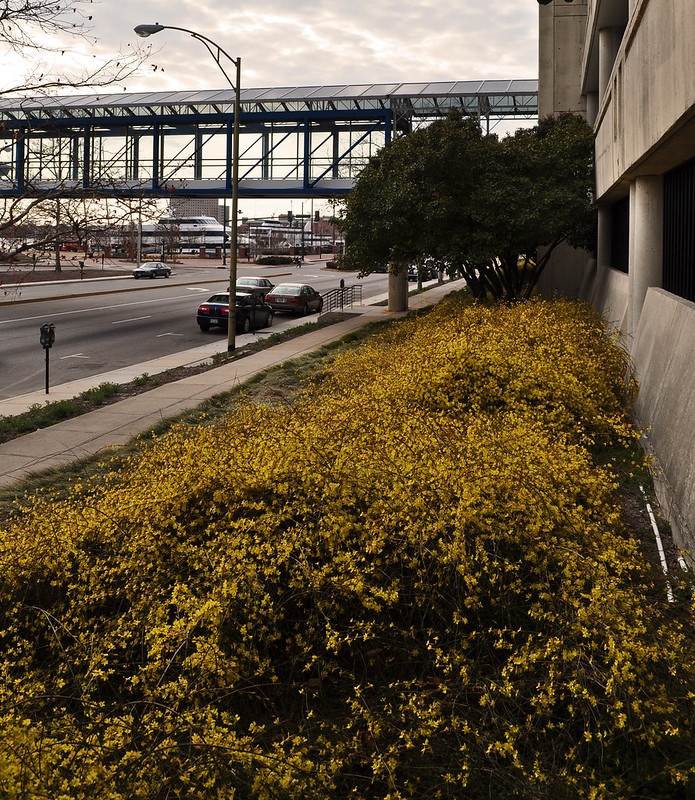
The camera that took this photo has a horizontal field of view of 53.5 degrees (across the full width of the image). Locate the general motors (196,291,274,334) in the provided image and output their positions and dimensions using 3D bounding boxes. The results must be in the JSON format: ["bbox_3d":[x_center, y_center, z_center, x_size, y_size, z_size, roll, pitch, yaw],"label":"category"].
[{"bbox_3d":[-3.877,-3.129,24.938,1.173,0.995,2.867,3,14,12],"label":"general motors"}]

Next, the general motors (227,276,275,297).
[{"bbox_3d":[-4.575,-5.518,33.516,1.196,0.997,2.875,4,16,9],"label":"general motors"}]

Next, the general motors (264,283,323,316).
[{"bbox_3d":[-2.369,-4.661,31.869,1.071,0.964,2.807,4,16,10],"label":"general motors"}]
